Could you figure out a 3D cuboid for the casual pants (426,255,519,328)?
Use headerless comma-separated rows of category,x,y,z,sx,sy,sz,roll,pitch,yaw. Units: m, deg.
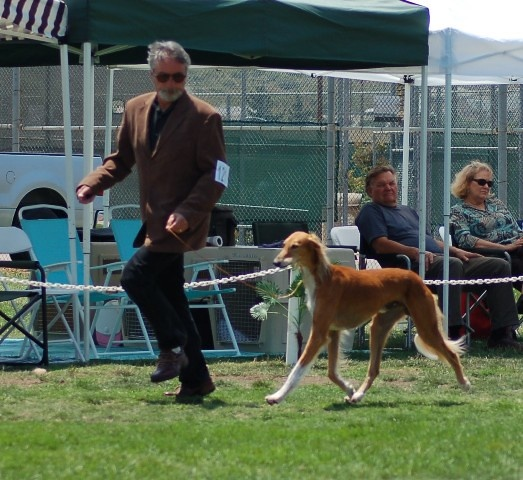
casual pants,1.835,0.486,9.358,0.694,0.945,0.630,-7,-9,43

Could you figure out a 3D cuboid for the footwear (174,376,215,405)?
footwear,-0.427,0.980,7.031,0.294,0.140,0.103,-29,1,-16

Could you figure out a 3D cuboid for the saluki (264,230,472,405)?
saluki,0.656,0.524,7.135,1.445,1.084,0.508,4,-8,-25

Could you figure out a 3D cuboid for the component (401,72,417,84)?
component,1.471,-1.622,10.930,0.127,0.069,0.086,4,-37,14

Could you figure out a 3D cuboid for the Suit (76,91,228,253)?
Suit,-0.638,-0.437,6.876,0.814,1.011,0.410,-1,5,21

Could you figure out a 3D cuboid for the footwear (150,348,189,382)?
footwear,-0.591,0.771,6.911,0.140,0.175,0.389,1,16,20

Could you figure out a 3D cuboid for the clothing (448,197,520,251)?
clothing,1.971,-0.130,9.686,0.432,0.389,0.244,-16,-16,-32
